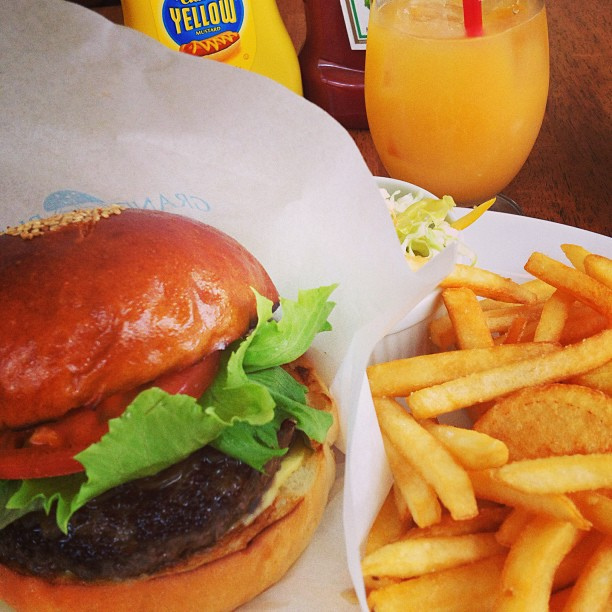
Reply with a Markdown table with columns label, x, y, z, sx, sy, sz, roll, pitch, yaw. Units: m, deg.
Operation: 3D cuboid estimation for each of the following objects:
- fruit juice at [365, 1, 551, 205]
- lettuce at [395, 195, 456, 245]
| label | x | y | z | sx | sy | sz | roll | pitch | yaw |
| --- | --- | --- | --- | --- | --- | --- | --- | --- | --- |
| fruit juice | 0.357 | -0.488 | 1.691 | 0.386 | 0.522 | 0.281 | -5 | 25 | -10 |
| lettuce | 0.242 | -0.185 | 1.396 | 0.170 | 0.120 | 0.093 | -2 | 100 | 0 |
